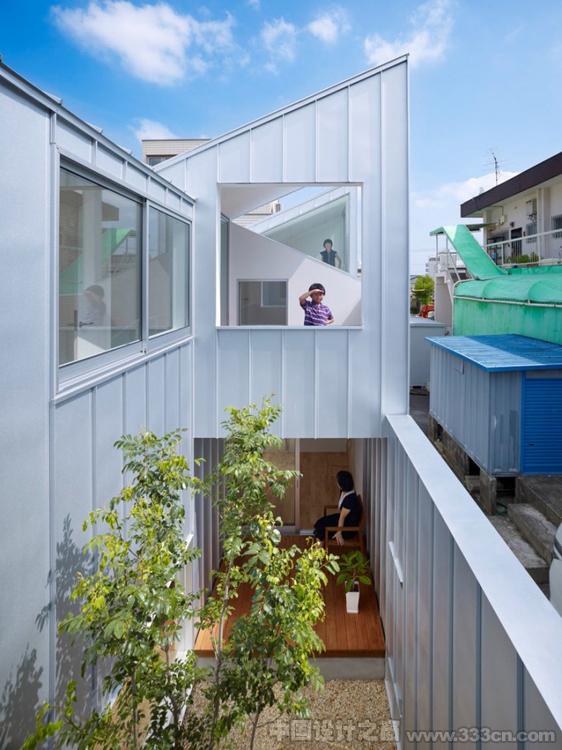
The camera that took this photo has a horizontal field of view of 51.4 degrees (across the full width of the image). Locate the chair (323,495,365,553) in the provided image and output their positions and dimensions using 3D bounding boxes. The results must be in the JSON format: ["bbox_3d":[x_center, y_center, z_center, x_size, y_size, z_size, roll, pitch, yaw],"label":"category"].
[{"bbox_3d":[0.834,1.963,8.165,0.484,0.964,0.567,8,7,16],"label":"chair"}]

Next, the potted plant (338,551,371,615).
[{"bbox_3d":[0.889,2.557,7.160,0.355,0.660,0.428,-11,-31,40],"label":"potted plant"}]

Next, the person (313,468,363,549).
[{"bbox_3d":[0.760,1.951,8.217,0.602,1.303,0.708,4,10,7],"label":"person"}]
